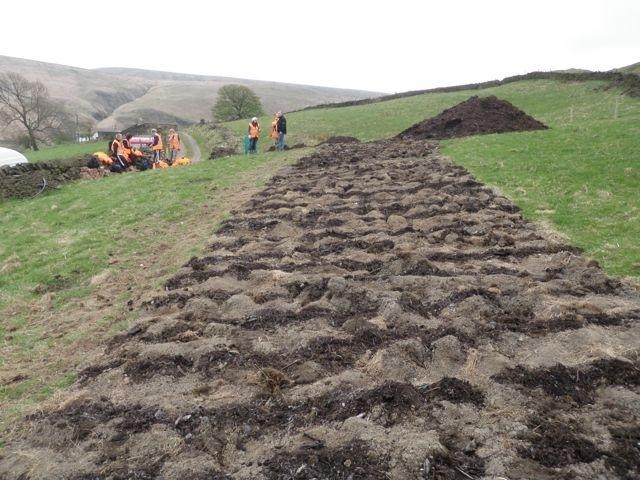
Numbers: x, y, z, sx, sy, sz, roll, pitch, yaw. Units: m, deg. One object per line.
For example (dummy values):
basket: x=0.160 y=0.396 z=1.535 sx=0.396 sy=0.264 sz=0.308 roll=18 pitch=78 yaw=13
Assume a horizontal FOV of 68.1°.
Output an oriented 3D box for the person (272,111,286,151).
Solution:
person: x=-2.176 y=-5.924 z=25.814 sx=0.696 sy=2.149 sz=1.467 roll=-11 pitch=25 yaw=-7
